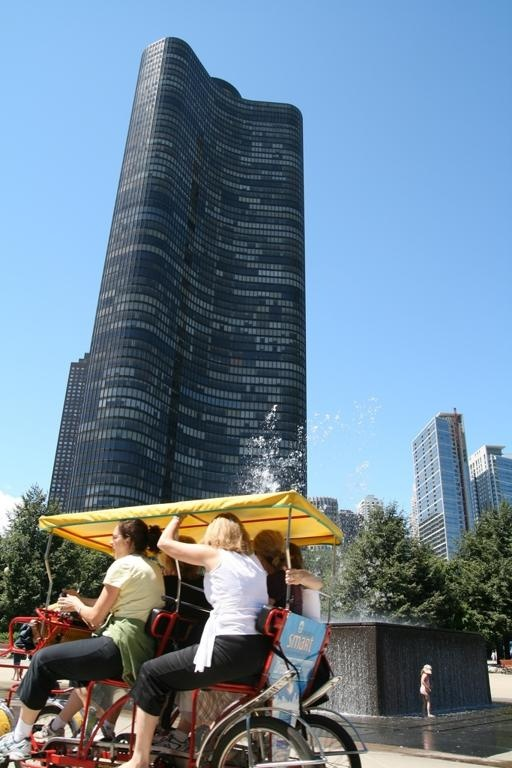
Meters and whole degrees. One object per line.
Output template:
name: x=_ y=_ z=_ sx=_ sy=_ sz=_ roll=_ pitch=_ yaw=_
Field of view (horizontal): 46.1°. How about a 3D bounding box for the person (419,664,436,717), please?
person: x=3.992 y=7.181 z=14.017 sx=0.327 sy=1.265 sz=1.958 roll=3 pitch=-10 yaw=17
